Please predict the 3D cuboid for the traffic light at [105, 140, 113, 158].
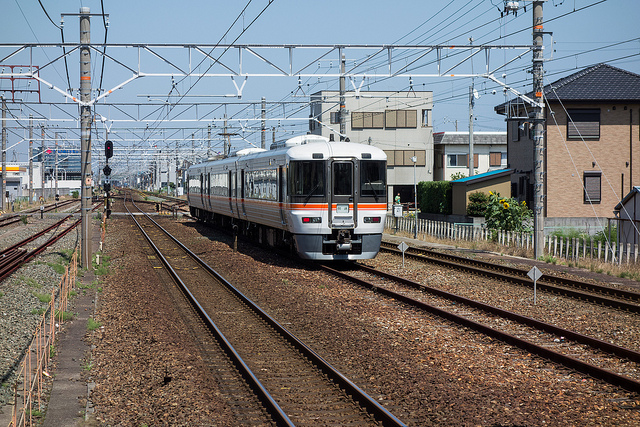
[{"bbox_3d":[-7.602,-2.299,21.948,0.217,0.538,0.938,-2,4,-20],"label":"traffic light"}]
